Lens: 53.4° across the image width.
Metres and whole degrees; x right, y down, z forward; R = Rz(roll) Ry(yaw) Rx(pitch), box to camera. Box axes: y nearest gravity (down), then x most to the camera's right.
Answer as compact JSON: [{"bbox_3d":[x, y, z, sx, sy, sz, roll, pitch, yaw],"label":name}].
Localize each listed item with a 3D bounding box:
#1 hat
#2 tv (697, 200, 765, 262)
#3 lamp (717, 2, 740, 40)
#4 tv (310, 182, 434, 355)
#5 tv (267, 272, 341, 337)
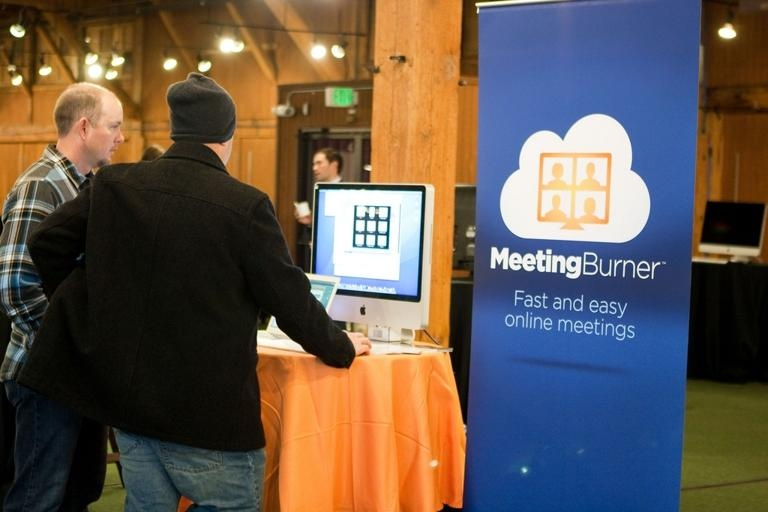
[{"bbox_3d":[-0.766,-0.611,3.184,0.246,0.295,0.337,3,0,30],"label":"hat"},{"bbox_3d":[3.542,-0.246,7.802,0.614,0.648,0.222,1,-3,38],"label":"tv"},{"bbox_3d":[3.695,-2.544,8.241,0.205,0.435,0.499,2,2,24],"label":"lamp"},{"bbox_3d":[-0.056,0.057,3.722,0.744,0.880,0.304,2,-1,23],"label":"tv"},{"bbox_3d":[-0.424,0.213,3.697,0.277,0.238,0.323,-1,7,-44],"label":"tv"}]
